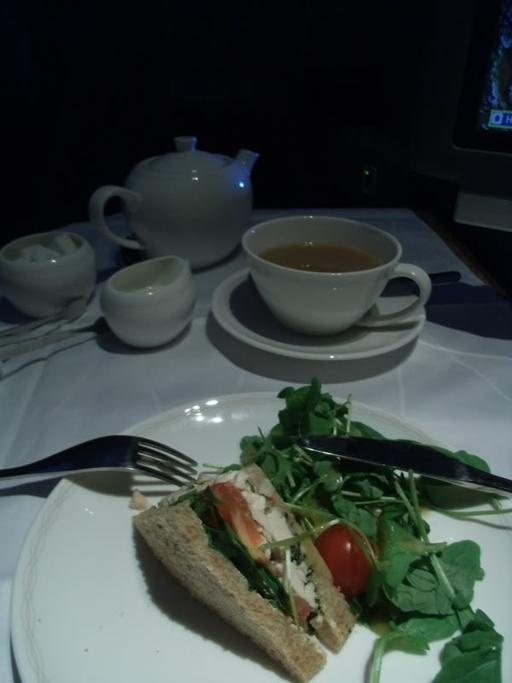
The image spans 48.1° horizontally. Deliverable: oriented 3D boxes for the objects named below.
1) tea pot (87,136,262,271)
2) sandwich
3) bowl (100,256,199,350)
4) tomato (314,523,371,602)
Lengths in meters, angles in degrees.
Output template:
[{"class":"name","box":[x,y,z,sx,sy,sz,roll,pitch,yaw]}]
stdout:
[{"class":"tea pot","box":[-0.161,-0.291,1.233,0.358,0.235,0.260,-14,23,-17]},{"class":"sandwich","box":[-0.018,0.241,0.603,0.207,0.074,0.125,33,47,19]},{"class":"bowl","box":[-0.169,-0.061,0.998,0.144,0.120,0.182,27,42,31]},{"class":"tomato","box":[0.089,0.210,0.561,0.047,0.048,0.061,-32,80,-6]}]
